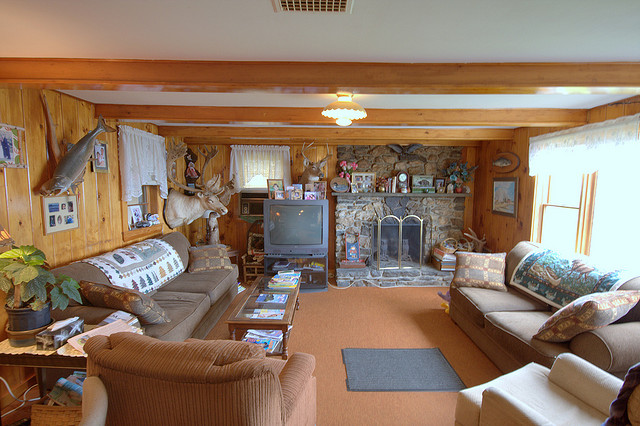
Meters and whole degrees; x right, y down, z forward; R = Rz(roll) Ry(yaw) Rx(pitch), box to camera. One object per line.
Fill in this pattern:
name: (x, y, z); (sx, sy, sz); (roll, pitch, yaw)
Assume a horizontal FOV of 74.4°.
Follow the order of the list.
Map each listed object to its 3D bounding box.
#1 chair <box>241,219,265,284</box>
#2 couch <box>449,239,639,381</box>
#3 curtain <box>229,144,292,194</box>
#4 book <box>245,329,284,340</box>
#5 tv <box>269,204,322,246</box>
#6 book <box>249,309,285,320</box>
chair: (-1.019, 0.633, 6.746); (0.476, 0.902, 0.337); (-4, 13, -2)
couch: (2.312, 0.950, 4.357); (1.142, 1.021, 2.134); (1, 7, -3)
curtain: (-0.980, -0.753, 6.942); (0.901, 0.688, 0.111); (0, 4, -4)
book: (-0.600, 1.322, 4.626); (0.222, 0.056, 0.215); (1, 0, -2)
tv: (-0.326, 0.182, 6.704); (1.067, 0.840, 0.573); (0, -2, 0)
book: (-0.552, 1.070, 4.469); (0.345, 0.040, 0.214); (1, 5, -1)
